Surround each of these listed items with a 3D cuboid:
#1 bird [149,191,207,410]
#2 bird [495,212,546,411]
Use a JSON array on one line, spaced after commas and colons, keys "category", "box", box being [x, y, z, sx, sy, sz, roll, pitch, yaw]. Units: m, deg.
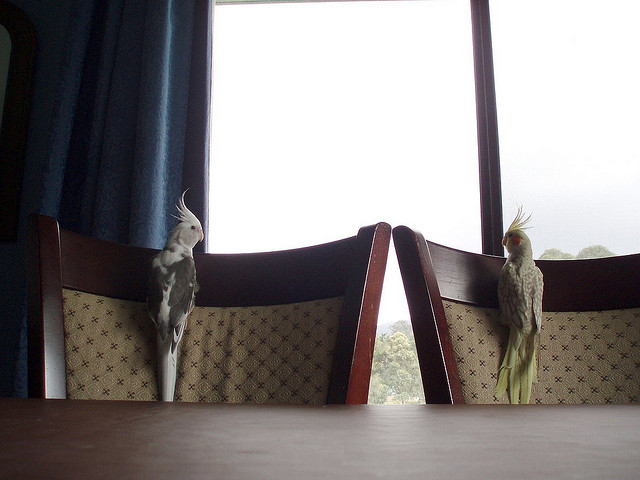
[{"category": "bird", "box": [-0.282, 0.101, 1.010, 0.084, 0.405, 0.155, 2, -13, -5]}, {"category": "bird", "box": [0.412, 0.154, 1.063, 0.111, 0.387, 0.219, -2, -23, 16]}]
